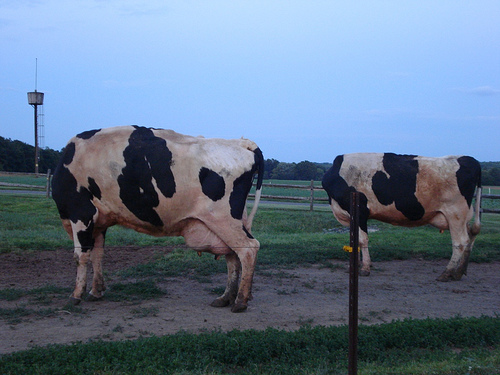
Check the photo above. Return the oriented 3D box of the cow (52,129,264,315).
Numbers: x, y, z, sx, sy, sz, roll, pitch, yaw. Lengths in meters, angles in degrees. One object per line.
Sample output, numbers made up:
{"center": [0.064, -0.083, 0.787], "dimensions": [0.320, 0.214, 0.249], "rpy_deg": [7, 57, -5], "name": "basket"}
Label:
{"center": [-2.144, 0.583, 10.137], "dimensions": [4.399, 3.678, 1.343], "rpy_deg": [2, 3, -1], "name": "cow"}
